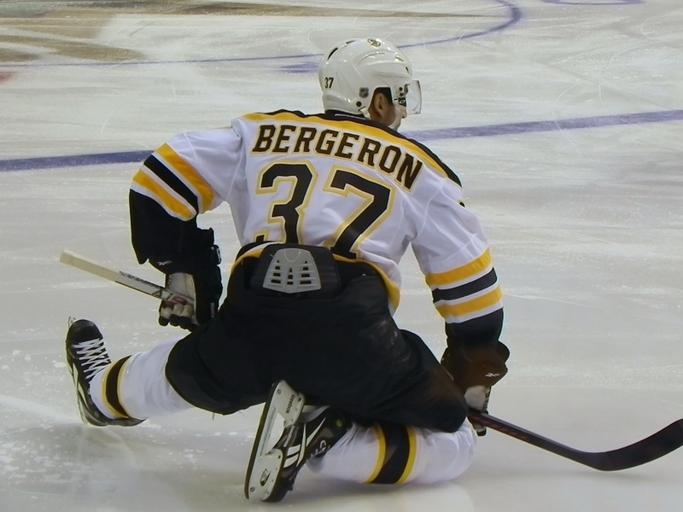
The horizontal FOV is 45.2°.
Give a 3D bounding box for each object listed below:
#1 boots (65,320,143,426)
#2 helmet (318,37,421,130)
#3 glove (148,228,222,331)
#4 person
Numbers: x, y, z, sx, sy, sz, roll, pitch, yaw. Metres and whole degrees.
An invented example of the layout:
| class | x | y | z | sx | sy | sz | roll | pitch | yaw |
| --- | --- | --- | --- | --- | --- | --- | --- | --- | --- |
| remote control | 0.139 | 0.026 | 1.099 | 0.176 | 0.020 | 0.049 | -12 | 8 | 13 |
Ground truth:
| class | x | y | z | sx | sy | sz | roll | pitch | yaw |
| --- | --- | --- | --- | --- | --- | --- | --- | --- | --- |
| boots | -0.860 | 0.362 | 2.762 | 0.180 | 0.441 | 0.303 | -2 | -7 | -24 |
| helmet | 0.090 | -0.628 | 2.914 | 0.408 | 0.297 | 0.289 | -4 | 16 | -23 |
| glove | -0.516 | 0.072 | 2.848 | 0.246 | 0.323 | 0.134 | 4 | 18 | 23 |
| person | -0.161 | 0.139 | 2.612 | 1.185 | 1.114 | 0.831 | 11 | 32 | 26 |
